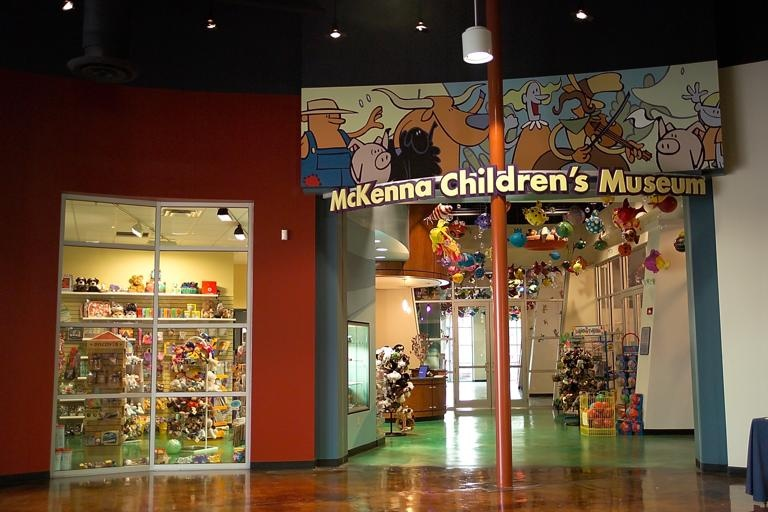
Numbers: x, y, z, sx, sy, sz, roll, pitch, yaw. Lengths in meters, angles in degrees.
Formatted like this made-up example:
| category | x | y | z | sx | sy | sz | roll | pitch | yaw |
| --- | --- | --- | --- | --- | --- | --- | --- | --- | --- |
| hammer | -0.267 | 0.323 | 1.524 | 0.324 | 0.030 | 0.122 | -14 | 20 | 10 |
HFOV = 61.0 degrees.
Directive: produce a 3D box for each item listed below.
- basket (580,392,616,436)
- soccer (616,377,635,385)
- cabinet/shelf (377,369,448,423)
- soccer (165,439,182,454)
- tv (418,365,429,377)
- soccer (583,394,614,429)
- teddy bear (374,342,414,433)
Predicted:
| category | x | y | z | sx | sy | sz | roll | pitch | yaw |
| --- | --- | --- | --- | --- | --- | --- | --- | --- | --- |
| basket | 4.819 | 3.643 | 15.053 | 0.783 | 1.085 | 1.078 | -2 | -5 | 7 |
| soccer | 5.708 | 2.951 | 15.355 | 0.292 | 0.098 | 0.211 | 1 | -5 | 5 |
| cabinet/shelf | 0.969 | 3.994 | 18.363 | 1.639 | 1.550 | 2.439 | 2 | -6 | 5 |
| soccer | -3.622 | 3.256 | 11.214 | 0.256 | 0.257 | 0.292 | -6 | -11 | -20 |
| tv | 1.071 | 3.174 | 17.958 | 0.326 | 0.325 | 0.232 | 1 | -21 | 6 |
| soccer | 4.765 | 3.557 | 14.918 | 0.700 | 0.713 | 0.704 | 1 | -11 | -8 |
| teddy bear | 0.246 | 2.943 | 14.868 | 0.662 | 2.047 | 0.803 | 4 | -6 | -15 |
